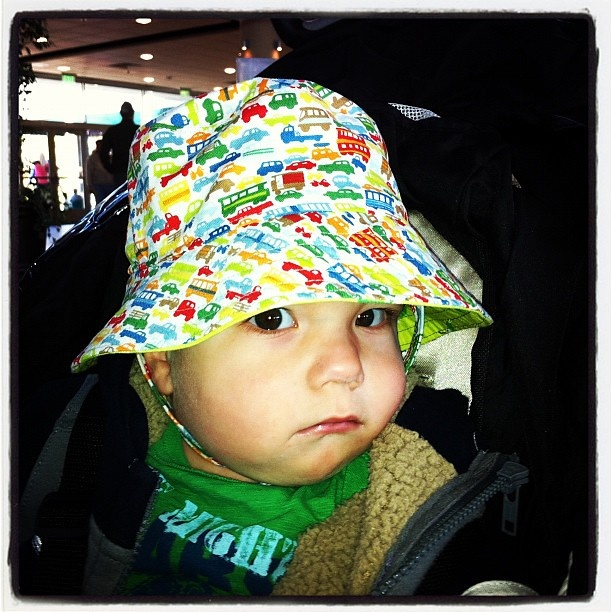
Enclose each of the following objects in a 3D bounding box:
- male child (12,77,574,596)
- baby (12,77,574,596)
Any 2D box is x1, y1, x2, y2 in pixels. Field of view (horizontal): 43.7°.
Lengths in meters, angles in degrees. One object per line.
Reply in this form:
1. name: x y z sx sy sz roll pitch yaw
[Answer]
1. male child: -0.103 0.175 1.354 0.801 0.648 0.976 6 -33 -27
2. baby: -0.100 0.170 1.371 0.801 0.648 0.976 6 -33 -27
